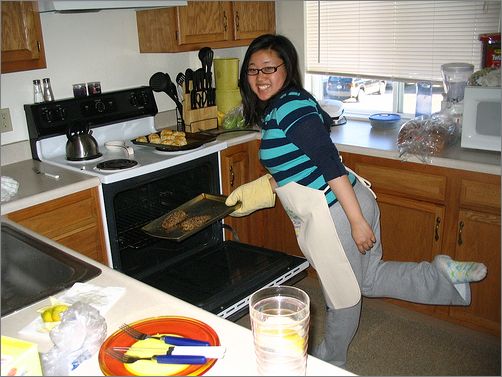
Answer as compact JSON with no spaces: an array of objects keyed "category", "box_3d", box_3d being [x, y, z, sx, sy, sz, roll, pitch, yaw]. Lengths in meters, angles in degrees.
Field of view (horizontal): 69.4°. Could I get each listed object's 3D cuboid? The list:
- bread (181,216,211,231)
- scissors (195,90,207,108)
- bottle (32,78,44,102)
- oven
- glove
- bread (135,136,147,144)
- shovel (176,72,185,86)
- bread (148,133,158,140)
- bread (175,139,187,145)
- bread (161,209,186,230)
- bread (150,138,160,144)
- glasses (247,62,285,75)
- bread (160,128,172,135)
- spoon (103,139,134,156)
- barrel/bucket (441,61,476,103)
[{"category":"bread","box_3d":[-0.297,0.179,1.923,0.082,0.030,0.112,-16,6,5]},{"category":"scissors","box_3d":[-0.369,-0.664,2.669,0.010,0.140,0.113,9,14,43]},{"category":"bottle","box_3d":[-1.282,-0.596,2.201,0.046,0.129,0.081,6,22,24]},{"category":"oven","box_3d":[-0.239,0.246,2.030,0.737,0.678,0.885,5,15,37]},{"category":"glove","box_3d":[0.016,0.024,1.919,0.275,0.169,0.095,-24,-15,20]},{"category":"bread","box_3d":[-0.723,-0.326,2.418,0.063,0.024,0.062,-11,26,-29]},{"category":"shovel","box_3d":[-0.501,-0.779,2.600,0.059,0.102,0.023,0,6,-3]},{"category":"bread","box_3d":[-0.655,-0.359,2.455,0.049,0.018,0.050,13,31,24]},{"category":"bread","box_3d":[-0.450,-0.303,2.344,0.056,0.022,0.060,-7,23,6]},{"category":"bread","box_3d":[-0.421,0.175,2.000,0.141,0.041,0.132,-11,22,-19]},{"category":"bread","box_3d":[-0.630,-0.318,2.402,0.051,0.013,0.051,-11,24,-30]},{"category":"glasses","box_3d":[0.066,-0.565,1.713,0.165,0.050,0.041,2,21,14]},{"category":"bread","box_3d":[-0.584,-0.387,2.474,0.067,0.021,0.065,12,24,32]},{"category":"spoon","box_3d":[-0.830,-0.266,2.270,0.165,0.045,0.102,26,31,30]},{"category":"barrel/bucket","box_3d":[1.310,-0.730,2.483,0.246,0.266,0.252,-2,26,1]}]
